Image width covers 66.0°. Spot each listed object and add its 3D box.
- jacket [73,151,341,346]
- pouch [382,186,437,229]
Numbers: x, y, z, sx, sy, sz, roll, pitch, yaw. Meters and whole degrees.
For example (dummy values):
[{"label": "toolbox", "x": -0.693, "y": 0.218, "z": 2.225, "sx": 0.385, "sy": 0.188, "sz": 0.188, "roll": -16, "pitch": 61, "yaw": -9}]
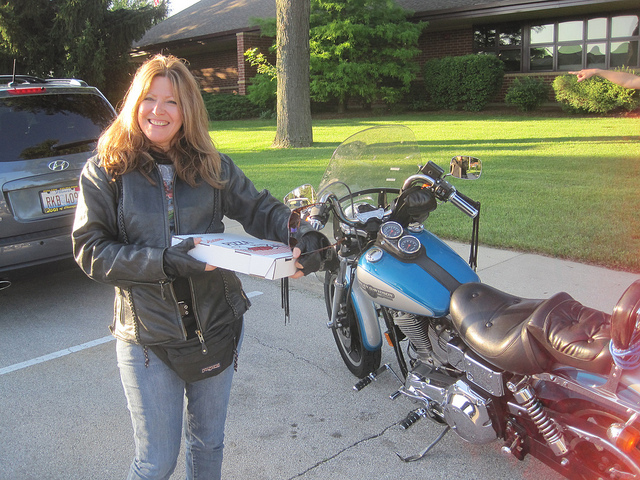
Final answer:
[{"label": "jacket", "x": -0.528, "y": -0.015, "z": 2.296, "sx": 1.165, "sy": 0.936, "sz": 0.981, "roll": -2, "pitch": 16, "yaw": 7}, {"label": "pouch", "x": 0.618, "y": -0.205, "z": 3.373, "sx": 0.163, "sy": 0.310, "sz": 0.249, "roll": 24, "pitch": 33, "yaw": -55}]
